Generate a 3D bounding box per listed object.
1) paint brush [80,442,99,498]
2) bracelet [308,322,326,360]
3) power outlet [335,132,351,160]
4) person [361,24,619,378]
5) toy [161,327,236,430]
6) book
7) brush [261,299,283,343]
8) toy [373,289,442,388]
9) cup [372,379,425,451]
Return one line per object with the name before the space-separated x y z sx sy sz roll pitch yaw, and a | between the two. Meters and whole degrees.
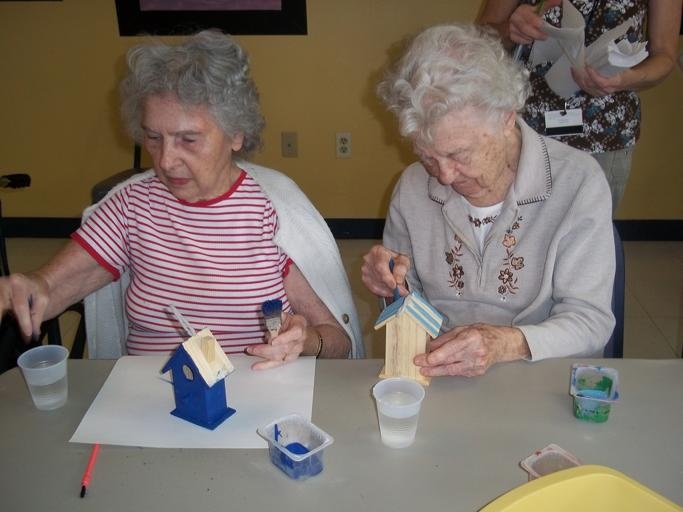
paint brush | -0.526 0.452 1.217 0.014 0.017 0.121 -26 32 8
bracelet | -0.071 0.242 1.683 0.030 0.088 0.061 -1 -16 -20
power outlet | 0.012 -0.730 3.758 0.137 0.232 0.021 1 23 2
person | 0.443 -0.179 1.648 0.602 0.924 0.636 -7 19 -11
toy | -0.339 0.301 1.371 0.151 0.213 0.134 11 21 28
book | 0.855 -0.692 2.059 0.336 0.264 0.366 27 33 3
brush | -0.177 0.150 1.502 0.046 0.119 0.139 -5 19 -6
toy | 0.165 0.183 1.550 0.190 0.258 0.196 3 25 6
cup | 0.128 0.341 1.277 0.122 0.141 0.130 0 22 0
